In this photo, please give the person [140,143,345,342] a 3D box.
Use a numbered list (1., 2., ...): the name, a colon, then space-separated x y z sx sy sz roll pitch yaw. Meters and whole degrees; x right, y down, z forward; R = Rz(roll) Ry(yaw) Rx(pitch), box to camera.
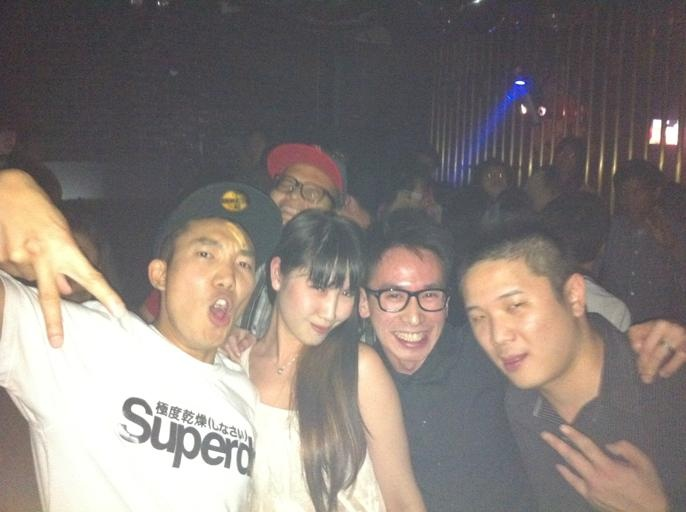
1. person: -0.360 -0.034 3.417 0.639 1.082 0.223 17 21 -29
